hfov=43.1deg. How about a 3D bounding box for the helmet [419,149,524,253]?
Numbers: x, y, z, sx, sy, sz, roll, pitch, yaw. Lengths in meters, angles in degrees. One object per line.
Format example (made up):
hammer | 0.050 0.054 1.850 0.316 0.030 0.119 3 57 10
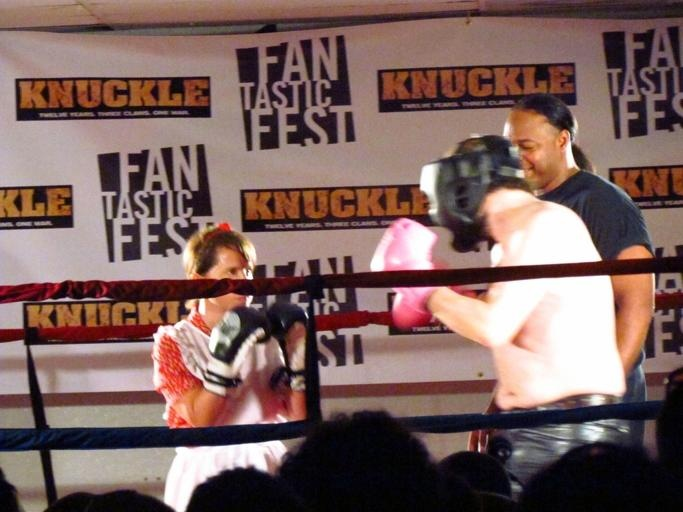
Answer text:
helmet | 0.445 -0.218 3.341 0.474 0.362 0.366 -10 6 -11

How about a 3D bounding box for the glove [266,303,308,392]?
glove | -0.193 0.343 3.202 0.148 0.332 0.311 -3 7 -5

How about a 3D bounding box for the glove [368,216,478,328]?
glove | 0.252 0.057 3.238 0.153 0.349 0.352 13 37 -31

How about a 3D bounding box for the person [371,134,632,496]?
person | 0.735 0.243 4.185 1.371 2.111 1.016 -5 -5 15

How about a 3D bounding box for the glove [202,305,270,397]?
glove | -0.422 0.351 3.268 0.254 0.302 0.137 5 4 -41
